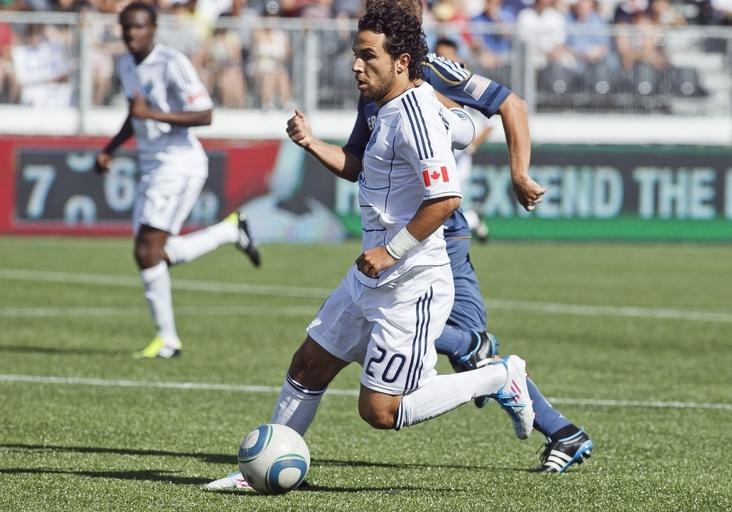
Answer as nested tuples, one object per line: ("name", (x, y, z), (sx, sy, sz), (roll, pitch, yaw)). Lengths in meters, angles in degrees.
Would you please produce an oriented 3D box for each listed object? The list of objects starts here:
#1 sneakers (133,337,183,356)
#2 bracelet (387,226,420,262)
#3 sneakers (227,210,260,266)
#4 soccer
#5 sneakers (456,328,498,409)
("sneakers", (-1.755, 0.785, 11.016), (0.474, 0.210, 0.189), (0, -1, -21))
("bracelet", (0.258, -0.075, 8.537), (0.146, 0.178, 0.108), (46, 5, 7))
("sneakers", (-1.156, -0.129, 12.104), (0.176, 0.596, 0.229), (-9, 35, 26))
("soccer", (-0.678, 1.406, 8.923), (0.480, 0.494, 0.472), (16, 11, 32))
("sneakers", (0.782, 0.765, 9.321), (0.270, 0.630, 0.223), (3, 25, -22))
